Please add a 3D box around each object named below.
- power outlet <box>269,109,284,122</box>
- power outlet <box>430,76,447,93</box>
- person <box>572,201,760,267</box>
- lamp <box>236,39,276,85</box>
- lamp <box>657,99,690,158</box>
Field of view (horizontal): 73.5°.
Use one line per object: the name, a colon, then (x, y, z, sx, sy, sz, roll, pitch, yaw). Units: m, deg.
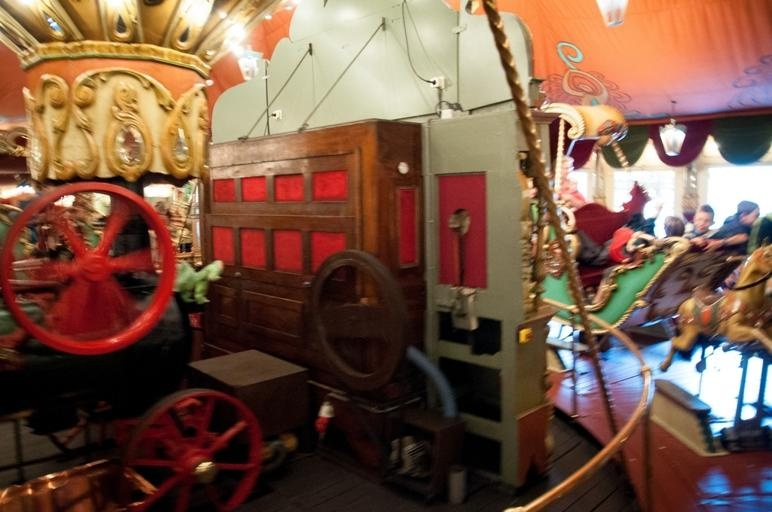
power outlet: (-1.201, -1.552, 5.688, 0.120, 0.117, 0.045, 5, 8, 35)
power outlet: (0.439, -1.422, 4.259, 0.099, 0.114, 0.172, -8, 12, -28)
person: (3.544, -0.241, 6.388, 1.767, 0.574, 1.213, -8, -1, 32)
lamp: (-1.652, -2.406, 6.348, 0.424, 0.560, 0.385, 0, 43, -21)
lamp: (5.457, -2.467, 9.852, 0.352, 1.027, 1.094, 0, 5, 28)
